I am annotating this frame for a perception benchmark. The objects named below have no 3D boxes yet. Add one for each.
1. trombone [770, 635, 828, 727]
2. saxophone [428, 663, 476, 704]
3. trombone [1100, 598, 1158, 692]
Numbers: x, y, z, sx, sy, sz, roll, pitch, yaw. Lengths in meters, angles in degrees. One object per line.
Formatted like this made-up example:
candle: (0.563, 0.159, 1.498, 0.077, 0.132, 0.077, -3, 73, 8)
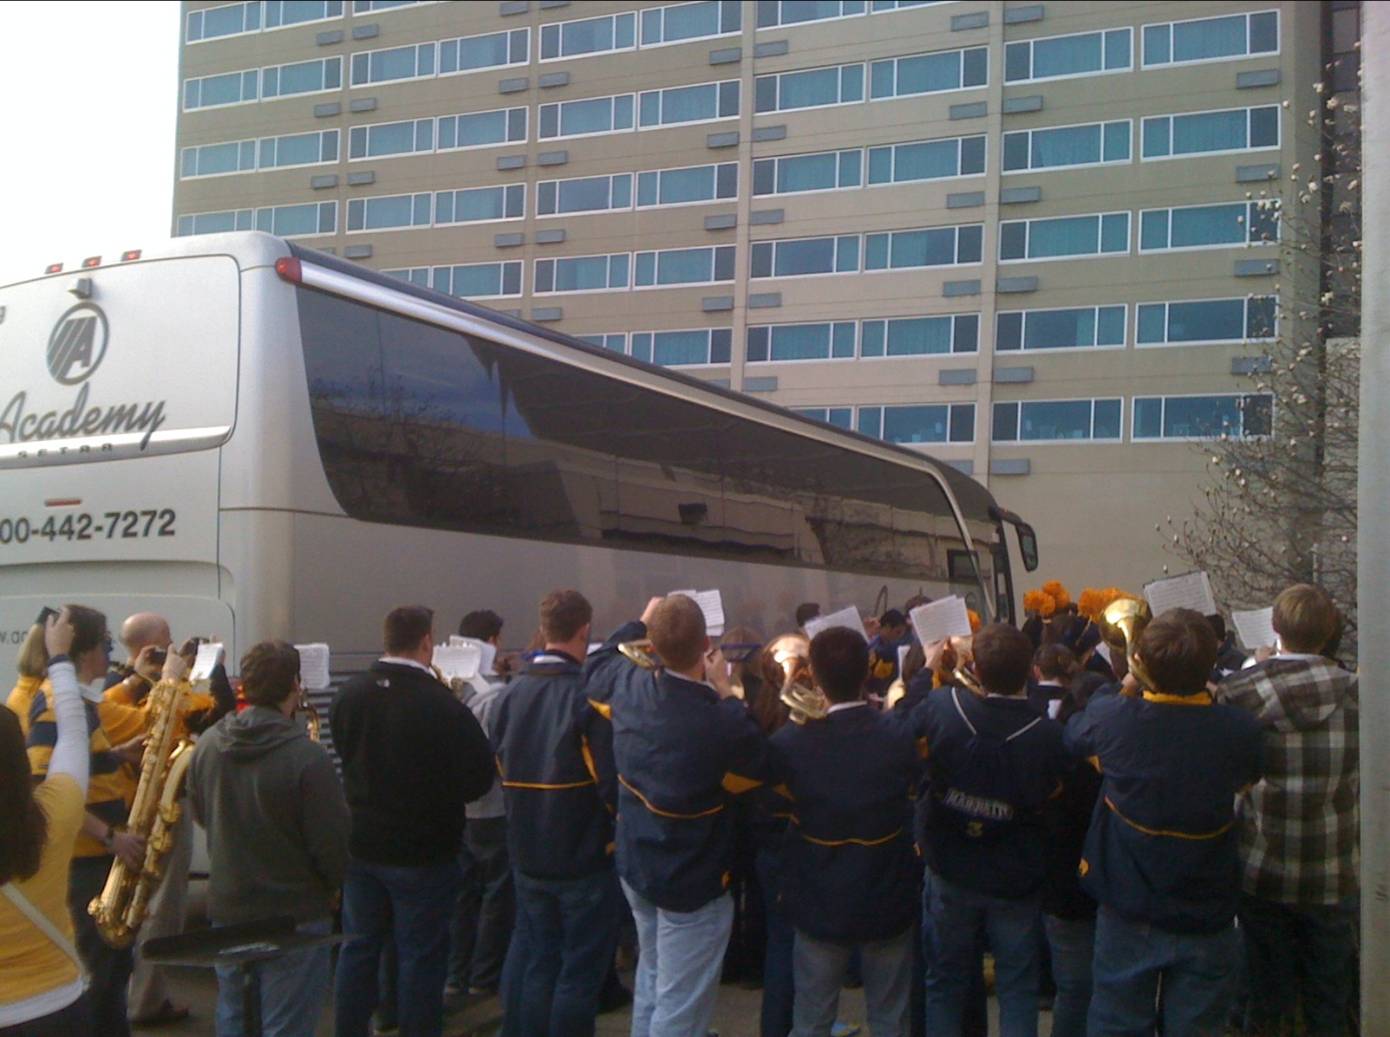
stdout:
trombone: (0.592, 0.915, 7.609, 0.250, 0.460, 0.119, -6, -10, -25)
saxophone: (-1.483, 1.021, 8.267, 0.283, 0.110, 0.208, 43, -16, -23)
trombone: (2.304, 0.643, 7.058, 0.323, 0.431, 0.220, 1, -16, -27)
